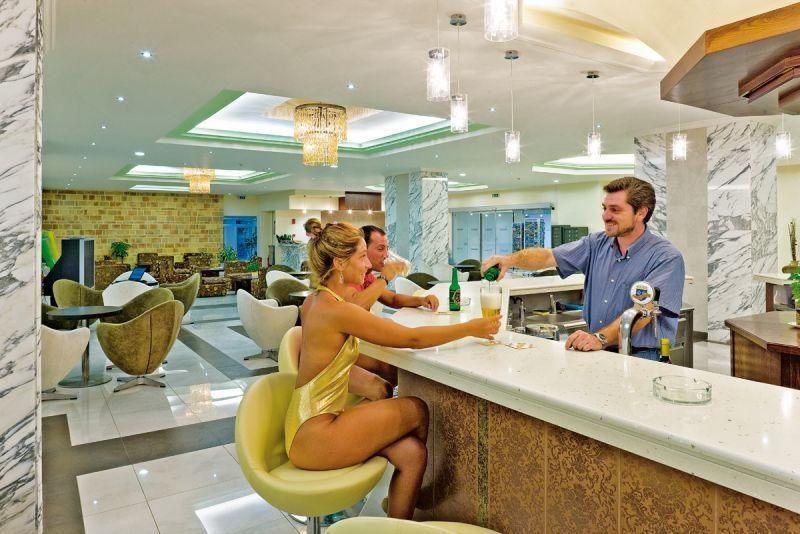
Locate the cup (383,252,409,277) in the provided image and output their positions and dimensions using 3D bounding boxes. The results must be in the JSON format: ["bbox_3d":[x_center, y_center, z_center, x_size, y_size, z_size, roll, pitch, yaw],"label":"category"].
[{"bbox_3d":[0.005,-0.015,3.700,0.212,0.200,0.186,-1,-1,-13],"label":"cup"}]

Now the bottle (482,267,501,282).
[{"bbox_3d":[0.608,0.040,3.425,0.102,0.096,0.100,21,33,15],"label":"bottle"}]

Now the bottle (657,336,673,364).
[{"bbox_3d":[1.343,0.421,2.632,0.042,0.179,0.238,7,10,27],"label":"bottle"}]

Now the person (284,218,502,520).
[{"bbox_3d":[0.015,0.698,3.006,1.453,1.837,0.797,-3,0,-4],"label":"person"}]

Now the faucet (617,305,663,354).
[{"bbox_3d":[1.231,0.334,2.709,0.134,0.259,0.190,10,12,41],"label":"faucet"}]

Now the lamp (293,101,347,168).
[{"bbox_3d":[-1.211,-2.007,8.143,0.982,0.953,0.888,0,-3,-4],"label":"lamp"}]

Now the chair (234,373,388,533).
[{"bbox_3d":[-0.522,0.949,2.674,0.789,0.602,0.494,8,11,35],"label":"chair"}]
